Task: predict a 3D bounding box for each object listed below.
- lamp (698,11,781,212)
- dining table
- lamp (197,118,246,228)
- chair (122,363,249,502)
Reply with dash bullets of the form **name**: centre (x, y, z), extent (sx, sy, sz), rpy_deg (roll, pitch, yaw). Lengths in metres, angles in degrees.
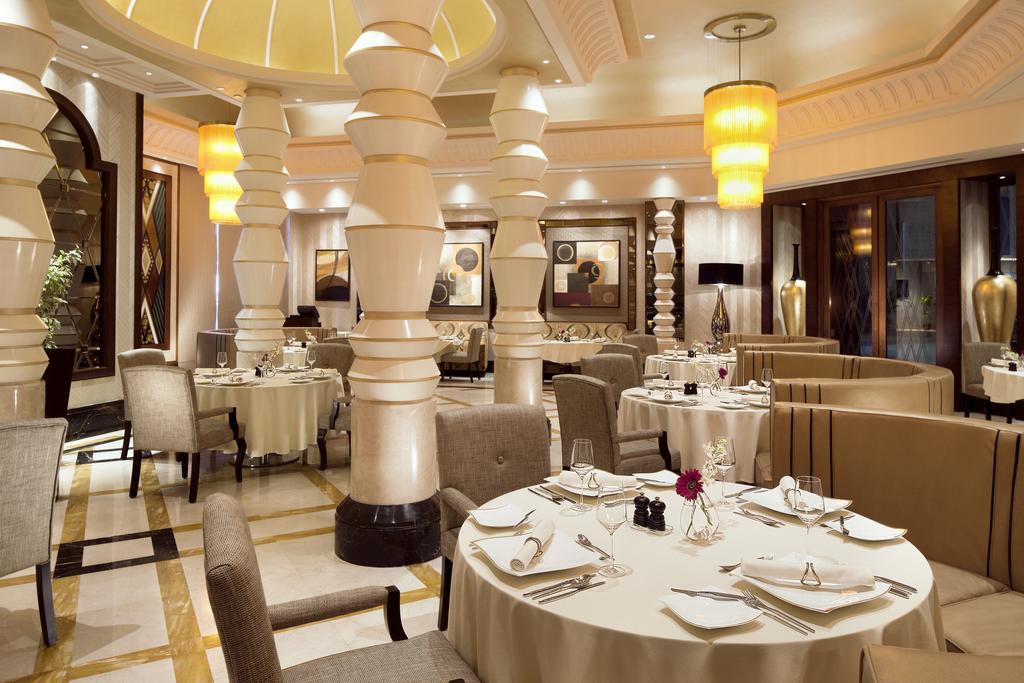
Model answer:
- **lamp**: centre (2.562, -2.695, 7.610), extent (0.806, 2.372, 1.594), rpy_deg (1, 3, 20)
- **dining table**: centre (-2.224, 0.702, 6.601), extent (1.012, 0.577, 1.028), rpy_deg (0, -3, 4)
- **lamp**: centre (-3.738, -2.196, 8.827), extent (0.705, 1.253, 0.717), rpy_deg (0, 3, -7)
- **chair**: centre (-2.943, 0.781, 6.080), extent (0.923, 1.143, 0.951), rpy_deg (-2, 6, -32)
